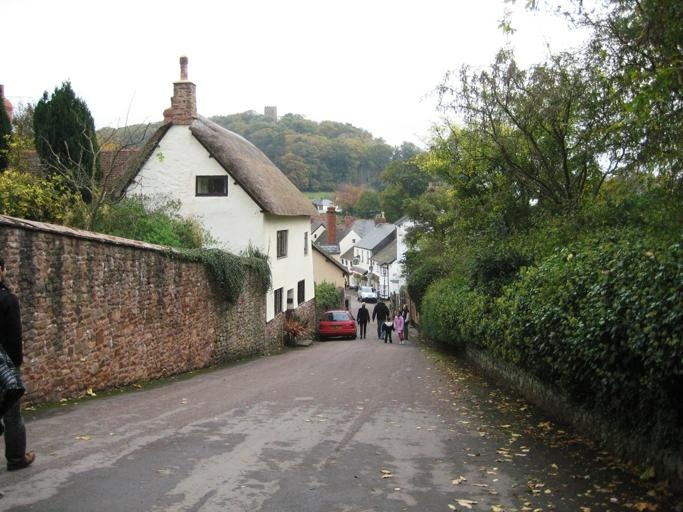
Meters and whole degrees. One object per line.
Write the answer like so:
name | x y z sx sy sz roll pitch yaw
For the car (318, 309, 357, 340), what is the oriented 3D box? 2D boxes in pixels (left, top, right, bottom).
car | -0.214 3.639 33.538 1.850 1.547 1.387 1 1 -1

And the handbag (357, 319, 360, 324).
handbag | 0.932 3.440 34.334 0.137 0.276 0.519 1 0 -9

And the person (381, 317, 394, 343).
person | 2.153 3.350 29.622 0.447 1.069 1.655 1 0 5

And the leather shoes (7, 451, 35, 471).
leather shoes | -4.347 2.800 8.810 0.120 0.176 0.350 8 12 23
